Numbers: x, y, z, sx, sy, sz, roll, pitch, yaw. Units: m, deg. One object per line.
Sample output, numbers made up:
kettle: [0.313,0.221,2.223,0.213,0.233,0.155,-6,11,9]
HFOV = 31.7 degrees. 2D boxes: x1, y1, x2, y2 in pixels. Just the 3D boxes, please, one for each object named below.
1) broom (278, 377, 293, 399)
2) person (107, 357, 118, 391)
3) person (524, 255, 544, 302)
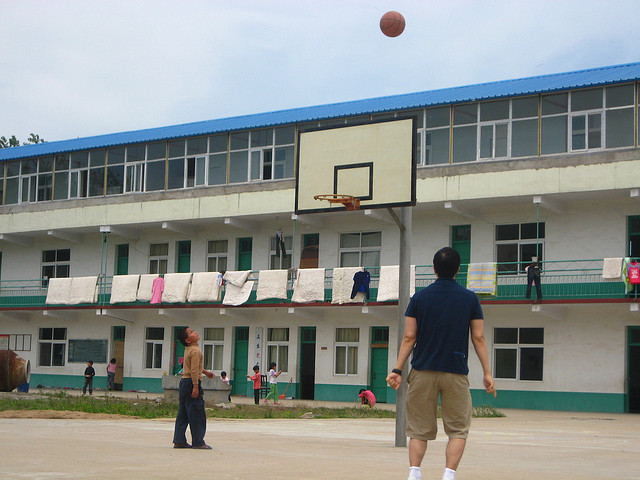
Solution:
broom: [-1.473,6.033,45.959,0.351,0.751,0.745,-3,1,36]
person: [-9.259,5.903,49.883,0.340,1.357,1.354,-3,1,-7]
person: [7.773,1.346,40.900,0.705,1.306,1.352,-3,1,11]
